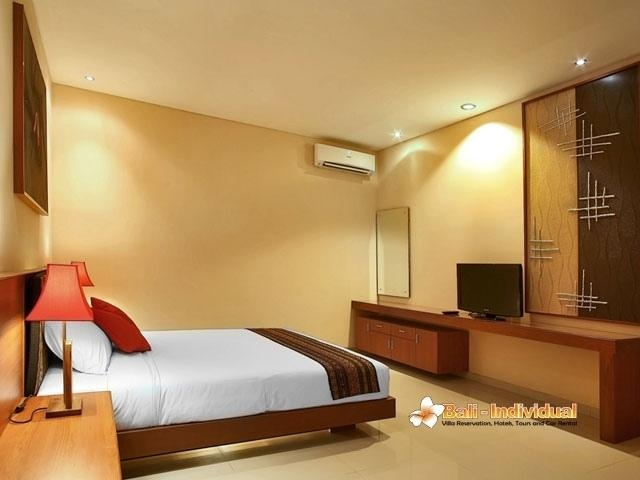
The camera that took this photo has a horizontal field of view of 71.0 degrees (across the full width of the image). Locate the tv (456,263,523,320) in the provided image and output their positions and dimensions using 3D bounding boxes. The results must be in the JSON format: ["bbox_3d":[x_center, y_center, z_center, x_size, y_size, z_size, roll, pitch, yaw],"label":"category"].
[{"bbox_3d":[1.888,0.563,4.975,0.202,0.620,0.844,0,-2,-33],"label":"tv"}]

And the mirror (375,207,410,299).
[{"bbox_3d":[1.062,0.209,6.568,0.716,1.303,0.043,1,-2,-37],"label":"mirror"}]

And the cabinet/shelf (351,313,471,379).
[{"bbox_3d":[1.125,1.337,6.037,0.453,0.555,1.657,1,-1,-31],"label":"cabinet/shelf"}]
